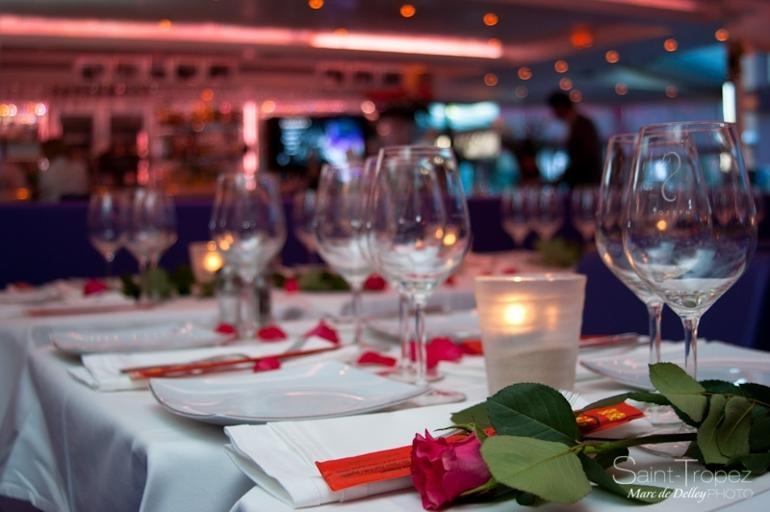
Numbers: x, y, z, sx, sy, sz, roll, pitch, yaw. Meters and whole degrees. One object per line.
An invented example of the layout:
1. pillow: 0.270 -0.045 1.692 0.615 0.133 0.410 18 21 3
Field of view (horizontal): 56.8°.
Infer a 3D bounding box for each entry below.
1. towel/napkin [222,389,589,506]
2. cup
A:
1. towel/napkin: -0.039 0.193 0.729 0.236 0.034 0.155 -5 -2 -23
2. cup: 0.160 0.099 0.909 0.135 0.161 0.140 0 -3 0
